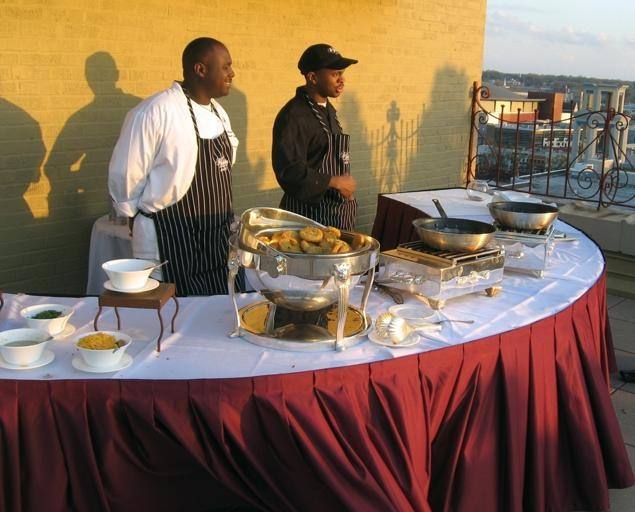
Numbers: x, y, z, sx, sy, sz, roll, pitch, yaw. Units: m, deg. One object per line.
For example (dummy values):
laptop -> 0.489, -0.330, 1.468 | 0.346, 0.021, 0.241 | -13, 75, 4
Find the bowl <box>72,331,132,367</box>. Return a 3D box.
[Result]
bowl -> -0.609, 0.268, 1.453 | 0.139, 0.059, 0.135 | 6, 13, -1

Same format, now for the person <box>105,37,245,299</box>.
person -> -0.657, -0.328, 2.697 | 0.496, 1.492, 0.634 | 15, 29, 18

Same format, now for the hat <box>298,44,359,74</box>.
hat -> 0.062, -1.226, 3.117 | 0.334, 0.194, 0.184 | 0, 12, -4

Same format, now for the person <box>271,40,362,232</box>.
person -> 0.005, -0.674, 3.173 | 0.478, 1.252, 0.475 | 5, 8, 33

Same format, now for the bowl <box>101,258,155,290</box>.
bowl -> -0.601, 0.057, 1.618 | 0.107, 0.052, 0.145 | 0, 3, -2

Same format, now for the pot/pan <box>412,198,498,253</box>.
pot/pan -> 0.532, -0.126, 2.110 | 0.256, 0.075, 0.399 | 10, 26, 15

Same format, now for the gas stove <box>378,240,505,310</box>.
gas stove -> 0.509, 0.072, 2.029 | 0.407, 0.191, 0.330 | -9, 16, -31
